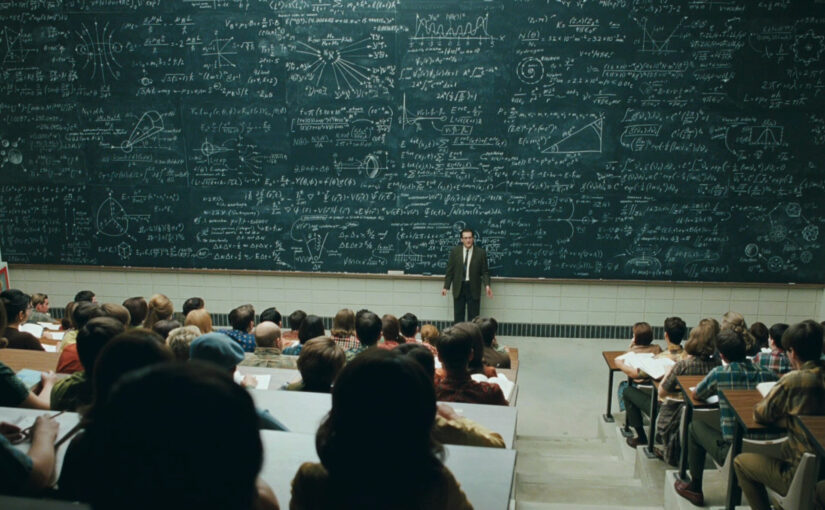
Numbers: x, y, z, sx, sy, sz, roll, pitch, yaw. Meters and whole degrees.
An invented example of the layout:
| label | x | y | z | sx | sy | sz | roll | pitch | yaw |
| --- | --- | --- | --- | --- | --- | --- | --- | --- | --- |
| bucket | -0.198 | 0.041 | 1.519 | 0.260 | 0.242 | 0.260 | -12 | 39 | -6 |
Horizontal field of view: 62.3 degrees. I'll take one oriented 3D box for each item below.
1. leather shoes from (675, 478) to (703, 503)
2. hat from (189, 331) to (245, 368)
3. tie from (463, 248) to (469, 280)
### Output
| label | x | y | z | sx | sy | sz | roll | pitch | yaw |
| --- | --- | --- | --- | --- | --- | --- | --- | --- | --- |
| leather shoes | 2.347 | 2.007 | 5.800 | 0.118 | 0.091 | 0.234 | -5 | 13 | -9 |
| hat | -1.489 | 0.732 | 5.074 | 0.407 | 0.127 | 0.342 | 9 | 26 | -33 |
| tie | 0.689 | 0.115 | 8.595 | 0.092 | 0.395 | 0.033 | 1 | 4 | 4 |
